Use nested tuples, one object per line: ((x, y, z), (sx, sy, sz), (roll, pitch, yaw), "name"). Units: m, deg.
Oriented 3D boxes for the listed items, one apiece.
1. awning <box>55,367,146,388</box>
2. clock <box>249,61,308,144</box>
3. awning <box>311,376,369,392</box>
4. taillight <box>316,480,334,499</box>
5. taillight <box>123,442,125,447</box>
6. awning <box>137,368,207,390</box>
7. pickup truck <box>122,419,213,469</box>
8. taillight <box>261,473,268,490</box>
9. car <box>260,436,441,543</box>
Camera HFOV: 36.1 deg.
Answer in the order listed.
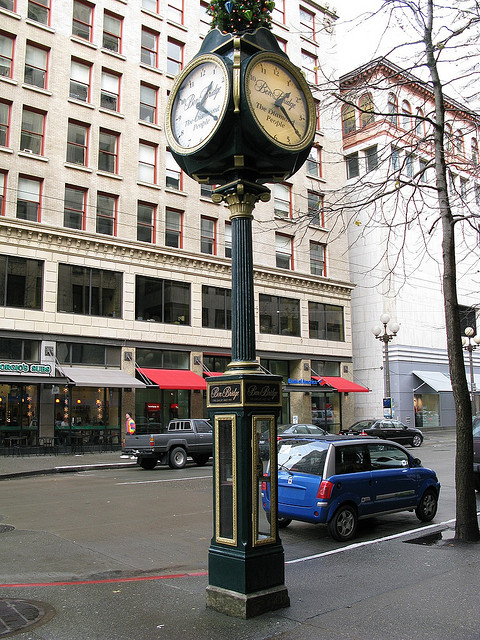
((-5.502, 2.248, 29.157), (1.353, 0.778, 3.322), (-8, -11, 42), "awning")
((0.370, -2.224, 7.602), (0.092, 0.934, 0.915), (-15, -2, 38), "clock")
((5.739, 3.551, 41.215), (2.565, 0.847, 1.471), (5, -10, -37), "awning")
((1.174, 2.346, 10.199), (0.212, 0.235, 0.101), (-1, -8, 4), "taillight")
((-3.317, 3.539, 21.060), (0.056, 0.107, 0.057), (2, -9, -13), "taillight")
((-2.808, 2.511, 31.932), (1.612, 0.927, 3.122), (-8, -11, 39), "awning")
((-1.825, 3.810, 23.165), (1.729, 1.445, 3.685), (-9, -10, 44), "pickup truck")
((0.232, 1.566, 7.177), (0.076, 0.158, 0.051), (2, -8, -18), "taillight")
((1.807, 2.364, 11.569), (2.876, 1.452, 1.541), (0, -5, -39), "car")
